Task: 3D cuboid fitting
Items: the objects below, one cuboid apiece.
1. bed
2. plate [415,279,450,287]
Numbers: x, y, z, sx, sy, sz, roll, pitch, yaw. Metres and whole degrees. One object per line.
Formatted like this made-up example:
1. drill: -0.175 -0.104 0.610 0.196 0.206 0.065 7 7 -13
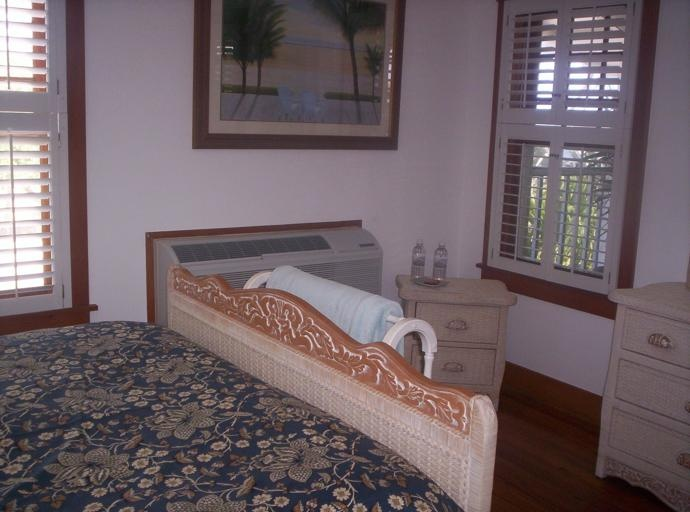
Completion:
1. bed: -0.424 0.423 1.762 1.056 0.637 0.438 11 14 37
2. plate: 0.583 0.177 3.501 0.131 0.018 0.088 3 11 19
